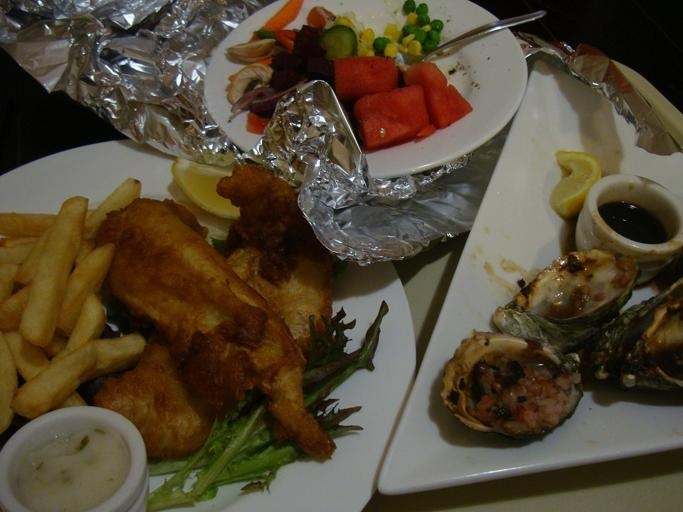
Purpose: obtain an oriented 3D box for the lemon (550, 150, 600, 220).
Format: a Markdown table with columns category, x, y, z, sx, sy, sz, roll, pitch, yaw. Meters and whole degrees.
| category | x | y | z | sx | sy | sz | roll | pitch | yaw |
| --- | --- | --- | --- | --- | --- | --- | --- | --- | --- |
| lemon | 0.838 | -0.260 | 2.302 | 0.135 | 0.071 | 0.300 | 7 | 50 | 19 |
